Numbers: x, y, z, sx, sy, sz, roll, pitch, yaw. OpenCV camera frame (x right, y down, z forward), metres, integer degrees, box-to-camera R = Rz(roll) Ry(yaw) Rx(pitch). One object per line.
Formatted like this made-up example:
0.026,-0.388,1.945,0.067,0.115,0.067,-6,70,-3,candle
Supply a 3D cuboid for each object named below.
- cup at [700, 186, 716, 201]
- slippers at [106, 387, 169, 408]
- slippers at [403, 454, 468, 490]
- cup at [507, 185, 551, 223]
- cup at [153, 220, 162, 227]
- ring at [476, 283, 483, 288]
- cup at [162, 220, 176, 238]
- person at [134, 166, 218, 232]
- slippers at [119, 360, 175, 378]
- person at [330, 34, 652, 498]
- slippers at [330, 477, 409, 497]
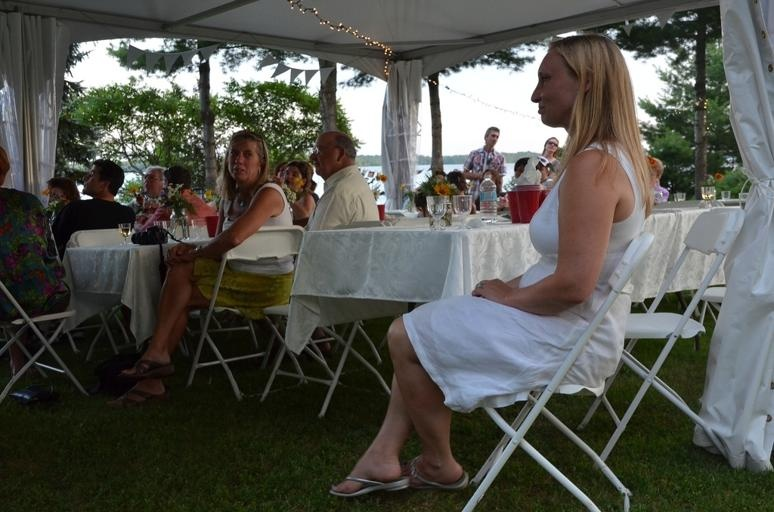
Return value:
3.147,-0.615,6.030,0.172,0.201,0.187,0,6,0,cup
-1.667,0.928,4.110,0.354,0.099,0.139,4,-6,-30,slippers
0.210,1.066,2.977,0.349,0.121,0.130,5,10,15,slippers
0.850,-0.322,3.724,0.228,0.204,0.221,1,8,0,cup
-1.703,-0.243,4.521,0.039,0.031,0.040,2,-1,0,cup
0.425,0.137,2.819,0.023,0.011,0.023,-2,12,0,ring
-1.615,-0.195,4.593,0.098,0.163,0.096,0,8,0,cup
-1.885,-0.565,5.635,0.628,0.546,0.870,1,9,0,person
-1.600,0.746,4.089,0.331,0.113,0.143,2,-4,-14,slippers
0.532,0.104,2.655,1.219,2.038,0.454,-5,13,-12,person
-0.084,1.090,2.931,0.349,0.100,0.141,1,-5,-1,slippers
